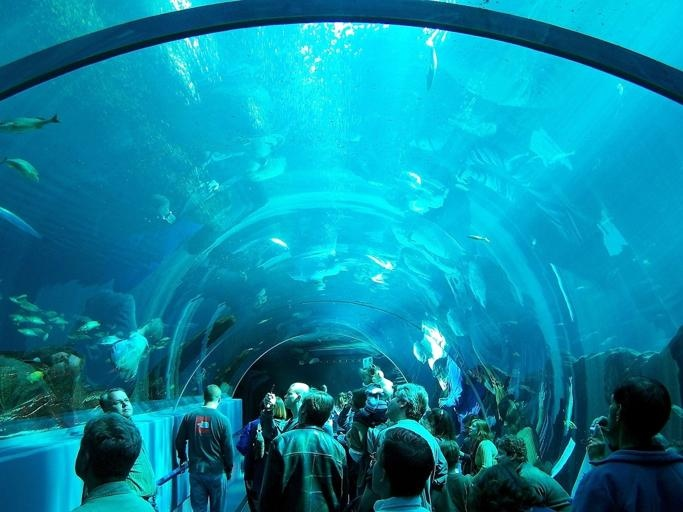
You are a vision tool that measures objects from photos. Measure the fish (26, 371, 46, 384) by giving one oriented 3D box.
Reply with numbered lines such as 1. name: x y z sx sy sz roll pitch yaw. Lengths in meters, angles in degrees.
1. fish: -4.581 1.836 7.608 0.111 0.164 0.287 -5 -25 5

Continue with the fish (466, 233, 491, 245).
1. fish: 2.505 -0.288 9.122 0.618 0.214 0.117 6 -62 7
